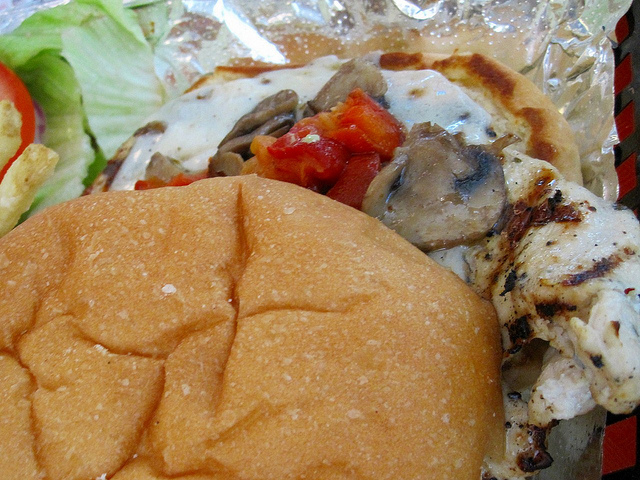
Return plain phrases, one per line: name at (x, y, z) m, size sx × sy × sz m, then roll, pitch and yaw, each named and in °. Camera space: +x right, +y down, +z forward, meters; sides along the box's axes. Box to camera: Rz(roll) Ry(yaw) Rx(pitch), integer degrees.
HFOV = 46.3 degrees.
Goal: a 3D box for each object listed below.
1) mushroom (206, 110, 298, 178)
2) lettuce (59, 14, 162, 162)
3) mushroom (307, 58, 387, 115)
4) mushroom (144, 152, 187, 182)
mushroom at (-0.236, -0.330, 3.028) m, size 0.382 × 0.274 × 0.145 m, roll -26°, pitch 100°, yaw 16°
lettuce at (-1.019, -0.765, 3.682) m, size 0.690 × 0.174 × 0.634 m, roll 21°, pitch 61°, yaw -40°
mushroom at (0.104, -0.630, 3.093) m, size 0.323 × 0.204 × 0.207 m, roll -5°, pitch 100°, yaw -5°
mushroom at (-0.651, -0.299, 3.096) m, size 0.139 × 0.039 × 0.133 m, roll 38°, pitch 102°, yaw 24°
